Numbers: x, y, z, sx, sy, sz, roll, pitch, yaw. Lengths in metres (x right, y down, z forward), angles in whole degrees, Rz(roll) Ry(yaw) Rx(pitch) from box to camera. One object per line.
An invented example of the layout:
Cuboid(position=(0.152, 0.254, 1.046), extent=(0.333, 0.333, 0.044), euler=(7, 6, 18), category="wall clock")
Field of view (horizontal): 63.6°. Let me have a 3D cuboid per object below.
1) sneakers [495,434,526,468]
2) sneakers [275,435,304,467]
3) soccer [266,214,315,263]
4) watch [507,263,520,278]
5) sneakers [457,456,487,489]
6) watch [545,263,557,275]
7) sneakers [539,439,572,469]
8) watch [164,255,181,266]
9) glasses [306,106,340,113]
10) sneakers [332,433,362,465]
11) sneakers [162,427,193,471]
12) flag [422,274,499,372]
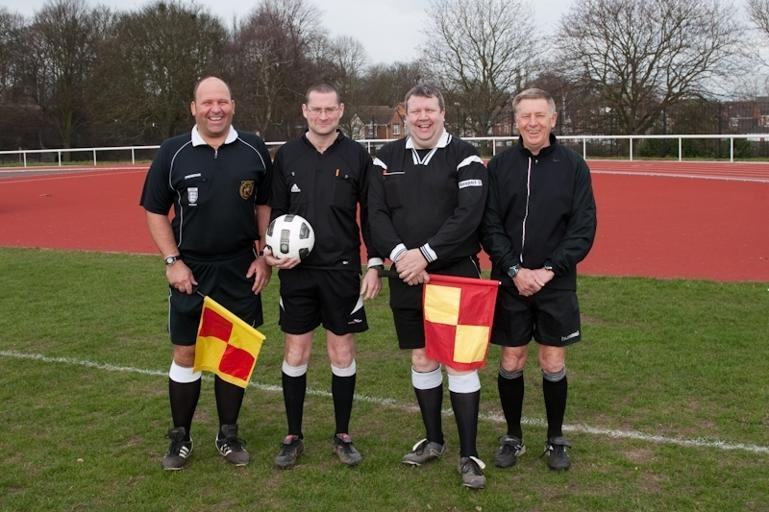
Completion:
Cuboid(position=(1.091, 1.698, 5.396), extent=(0.136, 0.161, 0.350), euler=(0, 0, 28), category="sneakers")
Cuboid(position=(-0.822, 1.705, 5.398), extent=(0.122, 0.152, 0.313), euler=(1, -3, 10), category="sneakers")
Cuboid(position=(-0.758, -0.119, 5.506), extent=(0.388, 0.412, 0.392), euler=(-6, 13, -20), category="soccer")
Cuboid(position=(1.092, 0.126, 5.260), extent=(0.097, 0.082, 0.105), euler=(-18, -26, -3), category="watch")
Cuboid(position=(0.730, 1.781, 5.131), extent=(0.225, 0.211, 0.224), euler=(0, 8, 0), category="sneakers")
Cuboid(position=(1.390, 0.107, 5.204), extent=(0.088, 0.067, 0.035), euler=(27, 56, 18), category="watch")
Cuboid(position=(1.496, 1.683, 5.348), extent=(0.254, 0.229, 0.271), euler=(0, 8, 5), category="sneakers")
Cuboid(position=(-1.857, 0.038, 5.424), extent=(0.112, 0.079, 0.103), euler=(-4, -5, -13), category="watch")
Cuboid(position=(-0.537, -1.282, 5.394), extent=(0.290, 0.069, 0.075), euler=(-1, 8, -2), category="glasses")
Cuboid(position=(-0.321, 1.680, 5.425), extent=(0.234, 0.207, 0.259), euler=(-2, 8, -10), category="sneakers")
Cuboid(position=(-1.792, 1.656, 5.337), extent=(0.248, 0.330, 0.164), euler=(-3, 8, -20), category="sneakers")
Cuboid(position=(0.617, 0.543, 5.235), extent=(0.781, 1.012, 0.121), euler=(2, 7, 4), category="flag")
